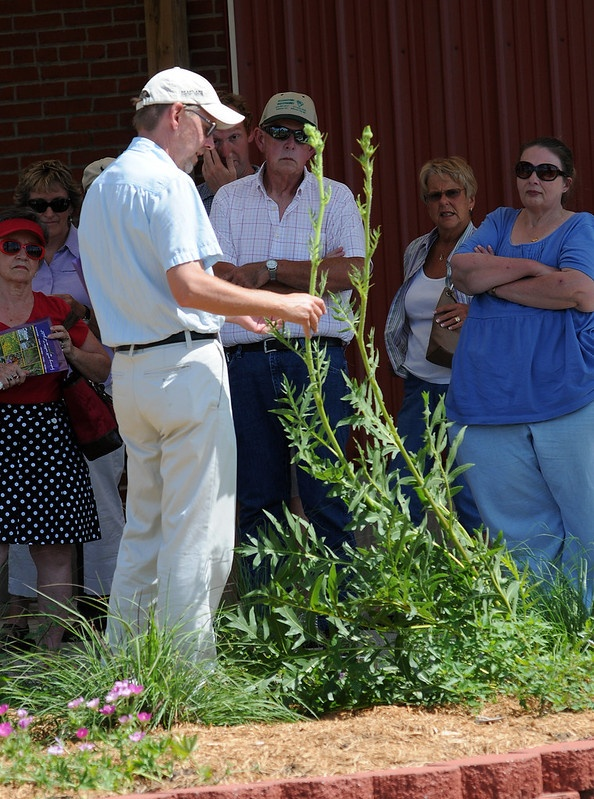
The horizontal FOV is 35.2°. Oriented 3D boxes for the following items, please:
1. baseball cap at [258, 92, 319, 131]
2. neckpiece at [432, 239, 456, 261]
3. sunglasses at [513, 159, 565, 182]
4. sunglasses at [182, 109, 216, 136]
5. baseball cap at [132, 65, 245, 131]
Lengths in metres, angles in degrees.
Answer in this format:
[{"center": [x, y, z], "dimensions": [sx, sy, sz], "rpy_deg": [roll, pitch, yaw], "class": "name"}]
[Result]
[{"center": [-0.024, -1.226, 3.968], "dimensions": [0.204, 0.114, 0.253], "rpy_deg": [4, -8, 0], "class": "baseball cap"}, {"center": [0.717, -0.735, 4.660], "dimensions": [0.117, 0.131, 0.051], "rpy_deg": [-2, -28, 22], "class": "neckpiece"}, {"center": [0.943, -0.884, 3.680], "dimensions": [0.127, 0.038, 0.130], "rpy_deg": [6, -4, 37], "class": "sunglasses"}, {"center": [-0.295, -0.851, 2.870], "dimensions": [0.063, 0.017, 0.057], "rpy_deg": [29, -3, 11], "class": "sunglasses"}, {"center": [-0.325, -0.915, 2.847], "dimensions": [0.324, 0.140, 0.181], "rpy_deg": [-2, 14, -13], "class": "baseball cap"}]
